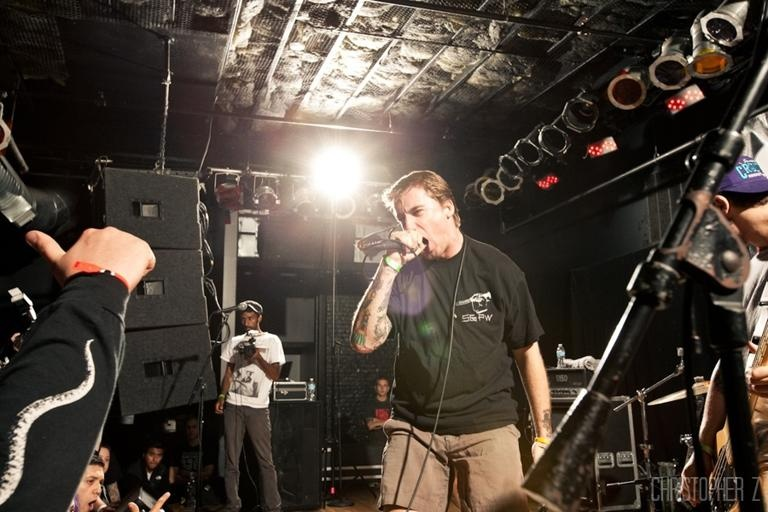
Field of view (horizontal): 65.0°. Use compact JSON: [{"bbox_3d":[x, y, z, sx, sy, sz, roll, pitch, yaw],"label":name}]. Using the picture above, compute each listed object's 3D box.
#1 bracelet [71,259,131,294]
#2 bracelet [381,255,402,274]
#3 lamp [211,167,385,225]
[{"bbox_3d":[-0.986,0.075,2.211,0.313,0.074,0.055,15,-4,-9],"label":"bracelet"},{"bbox_3d":[0.042,0.034,3.312,0.091,0.036,0.090,41,-15,-34],"label":"bracelet"},{"bbox_3d":[-1.111,-0.854,8.425,3.197,0.757,0.771,0,8,-21],"label":"lamp"}]
